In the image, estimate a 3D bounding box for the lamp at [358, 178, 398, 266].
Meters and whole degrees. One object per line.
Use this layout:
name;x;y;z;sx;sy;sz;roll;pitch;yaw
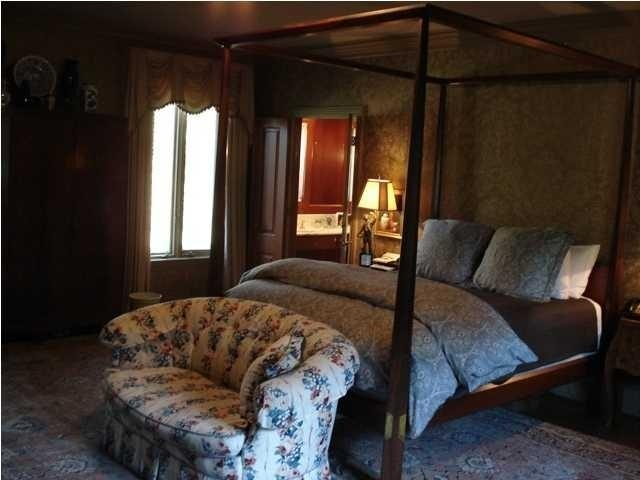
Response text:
lamp;0.626;-0.186;5.689;0.438;0.984;0.414;14;16;17

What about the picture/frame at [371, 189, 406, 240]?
picture/frame;0.811;-0.315;5.659;0.401;0.555;0.040;6;-2;-38

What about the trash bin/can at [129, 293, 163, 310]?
trash bin/can;-1.873;0.643;5.408;0.250;0.168;0.262;-1;-7;18
